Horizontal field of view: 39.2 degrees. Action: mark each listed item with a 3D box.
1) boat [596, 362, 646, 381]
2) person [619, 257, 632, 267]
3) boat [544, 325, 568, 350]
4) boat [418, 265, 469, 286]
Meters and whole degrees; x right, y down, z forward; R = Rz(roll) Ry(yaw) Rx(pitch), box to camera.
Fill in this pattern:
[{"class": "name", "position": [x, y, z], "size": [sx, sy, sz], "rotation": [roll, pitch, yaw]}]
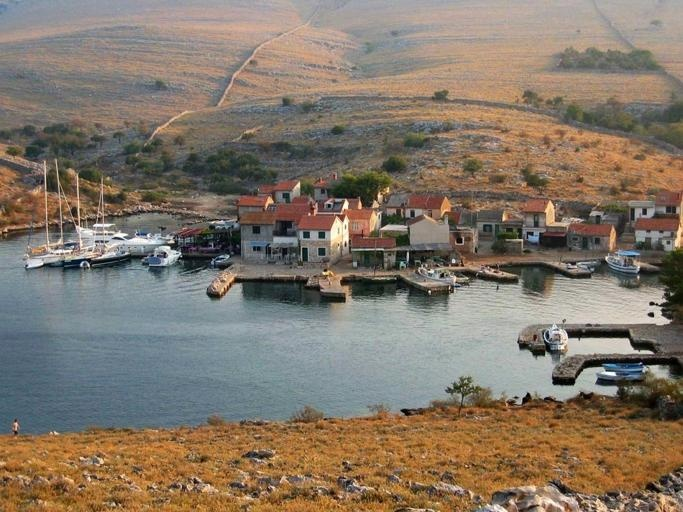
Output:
[{"class": "boat", "position": [22.506, 9.310, 76.652], "size": [2.586, 0.554, 1.770], "rotation": [-2, 12, 5]}, {"class": "person", "position": [30.789, 0.595, 102.972], "size": [1.132, 1.017, 0.296], "rotation": [7, -11, -27]}, {"class": "boat", "position": [18.389, 7.076, 82.284], "size": [1.419, 0.986, 2.738], "rotation": [-1, 27, 5]}, {"class": "boat", "position": [10.182, 2.346, 100.034], "size": [1.856, 1.810, 6.084], "rotation": [-9, 15, -38]}]
